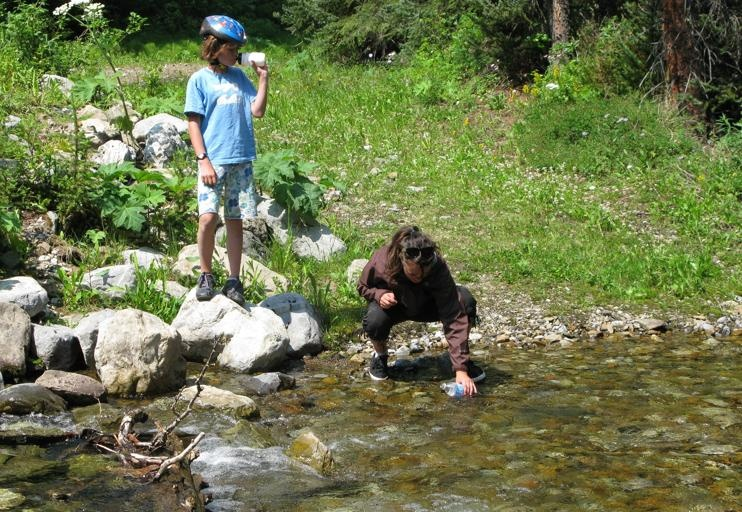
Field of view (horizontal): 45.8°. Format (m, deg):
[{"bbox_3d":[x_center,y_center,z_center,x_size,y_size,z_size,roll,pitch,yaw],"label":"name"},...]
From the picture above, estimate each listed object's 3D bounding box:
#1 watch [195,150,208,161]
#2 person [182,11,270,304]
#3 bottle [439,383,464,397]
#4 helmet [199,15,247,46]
[{"bbox_3d":[-1.875,-1.103,9.742,0.102,0.107,0.103,1,-9,-34],"label":"watch"},{"bbox_3d":[-1.677,-1.047,9.988,0.856,3.239,0.511,-5,13,-15],"label":"person"},{"bbox_3d":[0.878,1.480,9.482,0.278,0.165,0.165,14,-20,-13],"label":"bottle"},{"bbox_3d":[-1.655,-2.526,9.815,0.411,0.216,0.332,27,20,22],"label":"helmet"}]
